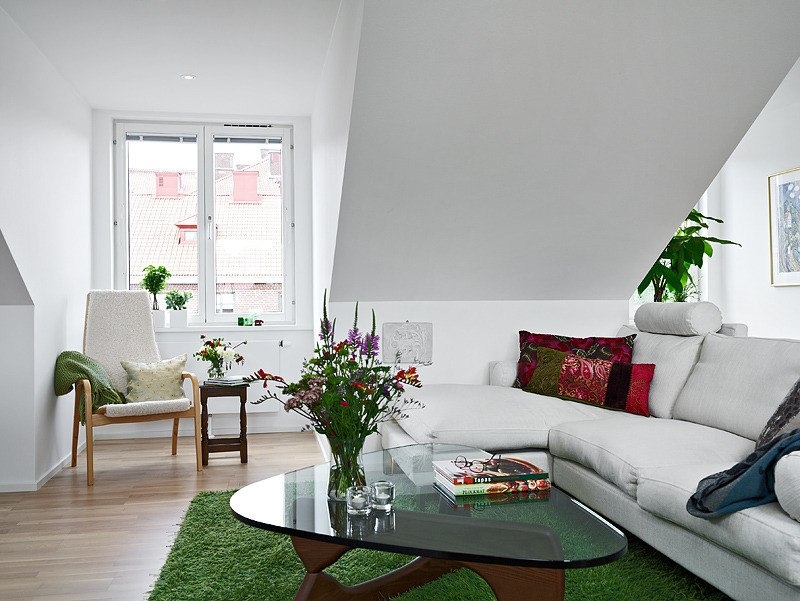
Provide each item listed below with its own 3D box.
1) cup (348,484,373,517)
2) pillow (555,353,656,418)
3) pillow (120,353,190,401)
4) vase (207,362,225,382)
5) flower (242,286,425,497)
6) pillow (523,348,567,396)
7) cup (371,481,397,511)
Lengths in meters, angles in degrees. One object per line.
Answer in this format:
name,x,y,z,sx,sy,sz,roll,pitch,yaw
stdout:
cup,-0.146,0.709,2.022,0.094,0.079,0.074,4,-5,-31
pillow,1.207,0.499,3.465,0.592,0.336,0.171,5,-23,28
pillow,-1.912,0.583,4.332,0.502,0.289,0.409,-2,2,-7
vase,-1.437,0.541,4.404,0.146,0.175,0.150,0,-9,3
flower,-0.220,0.352,2.152,0.558,0.734,0.599,10,14,41
pillow,0.940,0.442,3.652,0.084,0.278,0.281,13,0,-32
cup,-0.054,0.700,2.063,0.084,0.090,0.089,1,-6,0
